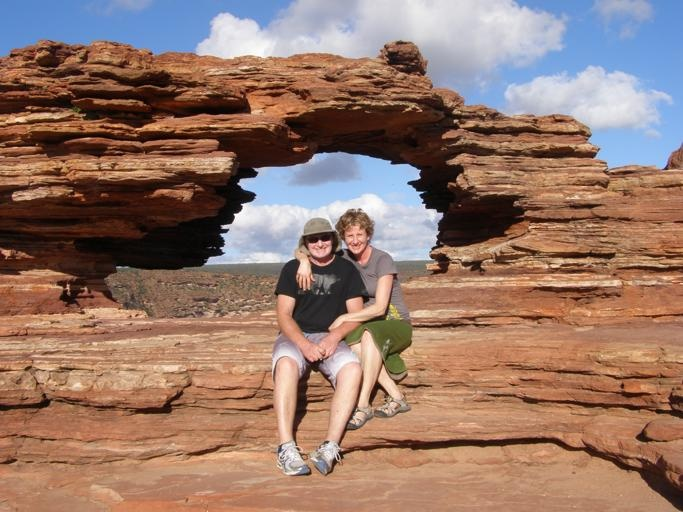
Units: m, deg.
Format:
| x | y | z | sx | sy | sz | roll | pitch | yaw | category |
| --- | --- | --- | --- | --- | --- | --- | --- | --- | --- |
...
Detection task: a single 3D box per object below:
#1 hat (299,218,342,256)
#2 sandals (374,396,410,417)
| x | y | z | sx | sy | sz | roll | pitch | yaw | category |
| --- | --- | --- | --- | --- | --- | --- | --- | --- | --- |
| -0.343 | -0.317 | 9.374 | 0.861 | 0.351 | 0.779 | -2 | -22 | 1 | hat |
| 0.796 | 2.430 | 9.399 | 0.712 | 0.189 | 0.272 | 4 | -10 | -22 | sandals |
